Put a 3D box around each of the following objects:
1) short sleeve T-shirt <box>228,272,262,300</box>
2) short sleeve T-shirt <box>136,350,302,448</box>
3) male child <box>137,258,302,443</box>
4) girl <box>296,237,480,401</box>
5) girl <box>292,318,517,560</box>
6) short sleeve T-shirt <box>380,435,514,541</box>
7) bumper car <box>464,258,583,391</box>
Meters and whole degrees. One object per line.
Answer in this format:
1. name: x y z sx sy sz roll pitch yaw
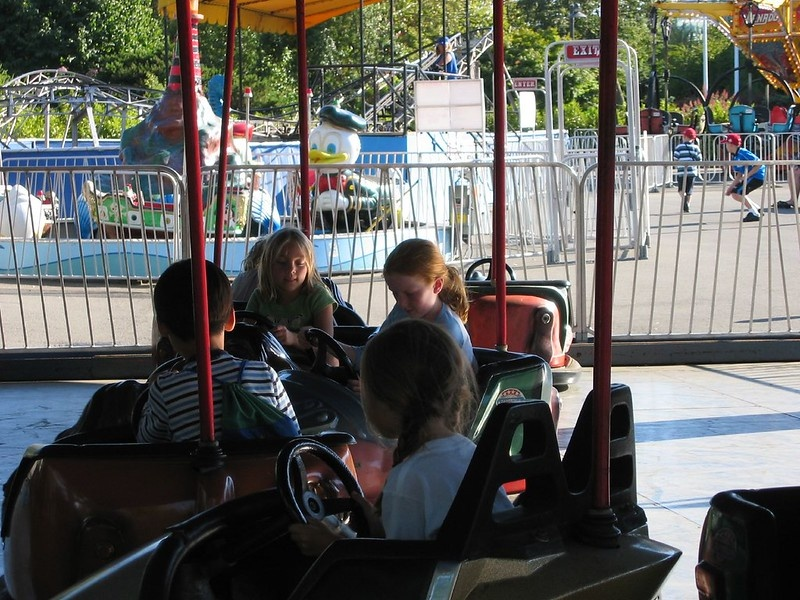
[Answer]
1. short sleeve T-shirt: -0.746 -0.063 5.633 0.111 0.159 0.083 5 -21 35
2. short sleeve T-shirt: -0.653 0.375 4.068 0.508 0.324 0.317 -1 -14 -5
3. male child: -0.597 0.217 4.296 0.685 0.861 0.559 -1 8 -2
4. girl: 0.056 0.101 5.081 0.632 0.758 0.568 3 14 -13
5. girl: -0.010 0.419 3.851 0.675 0.784 0.608 3 4 -25
6. short sleeve T-shirt: 0.116 0.593 3.689 0.253 0.364 0.494 -3 -8 20
7. bumper car: 0.702 0.170 6.663 0.712 0.752 0.691 -2 3 15
